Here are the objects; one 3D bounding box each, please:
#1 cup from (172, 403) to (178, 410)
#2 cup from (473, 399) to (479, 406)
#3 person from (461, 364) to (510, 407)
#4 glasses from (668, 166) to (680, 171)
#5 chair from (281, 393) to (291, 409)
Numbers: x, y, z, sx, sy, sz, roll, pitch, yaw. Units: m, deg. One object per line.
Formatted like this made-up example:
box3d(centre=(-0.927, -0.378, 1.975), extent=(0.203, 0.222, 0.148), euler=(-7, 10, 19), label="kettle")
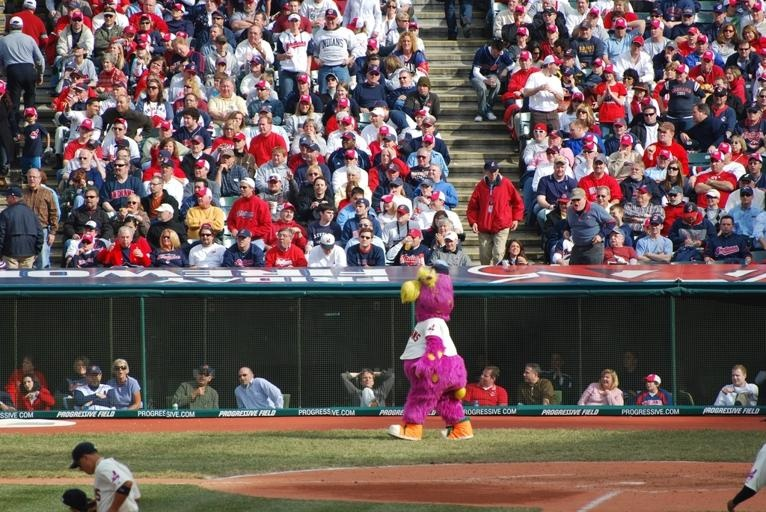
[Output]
box3d(centre=(-3.779, 2.701, 41.656), extent=(0.097, 0.116, 0.099), euler=(1, 9, 0), label="cup")
box3d(centre=(1.660, 2.619, 41.752), extent=(0.129, 0.132, 0.071), euler=(1, 0, 11), label="cup")
box3d(centre=(1.840, 2.412, 41.798), extent=(0.992, 0.879, 0.648), euler=(6, 0, 10), label="person")
box3d(centre=(5.624, -1.779, 44.797), extent=(0.229, 0.112, 0.072), euler=(-2, 0, -7), label="glasses")
box3d(centre=(-1.774, 2.597, 41.749), extent=(0.198, 0.248, 0.193), euler=(3, -3, -9), label="chair")
